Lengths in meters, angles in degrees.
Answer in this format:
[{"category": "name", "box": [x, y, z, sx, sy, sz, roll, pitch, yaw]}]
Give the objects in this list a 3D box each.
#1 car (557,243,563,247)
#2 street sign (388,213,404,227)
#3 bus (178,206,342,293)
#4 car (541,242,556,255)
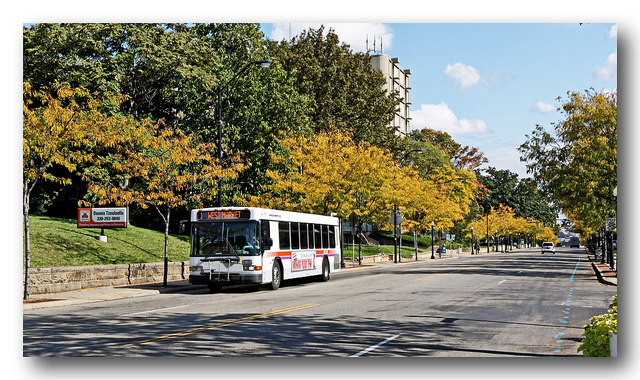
[{"category": "car", "box": [82.787, 19.226, 206.364, 1.527, 1.337, 5.286, 1, 0, 22]}, {"category": "street sign", "box": [7.580, 3.032, 60.354, 1.419, 1.026, 0.114, 3, -5, 8]}, {"category": "bus", "box": [-2.208, 3.505, 36.407, 5.837, 5.102, 13.418, -6, -10, 31]}, {"category": "car", "box": [40.083, 10.250, 104.916, 1.756, 1.558, 4.082, -1, -1, 16]}]
